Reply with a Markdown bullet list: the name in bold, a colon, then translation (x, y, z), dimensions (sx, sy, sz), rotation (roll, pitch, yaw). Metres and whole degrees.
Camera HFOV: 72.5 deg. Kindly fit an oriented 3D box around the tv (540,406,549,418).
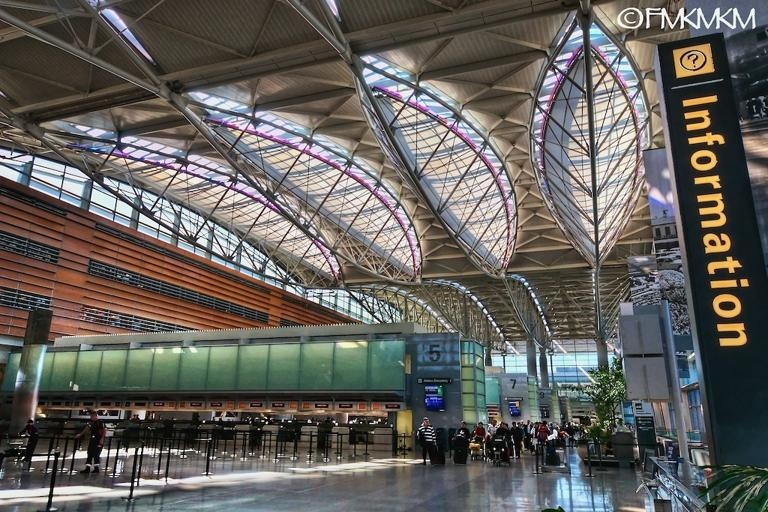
- **tv**: translation (17.891, 17.382, 58.540), dimensions (1.657, 1.060, 0.892), rotation (0, -26, 3)
